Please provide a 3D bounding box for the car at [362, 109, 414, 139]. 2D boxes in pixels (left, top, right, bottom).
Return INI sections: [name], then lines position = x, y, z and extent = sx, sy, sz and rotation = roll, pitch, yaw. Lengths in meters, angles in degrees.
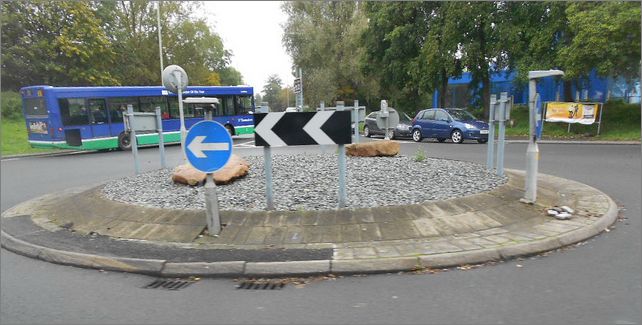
[car]
position = 5.106, -2.784, 29.456
extent = 3.545, 2.159, 2.881
rotation = -1, 12, 7
